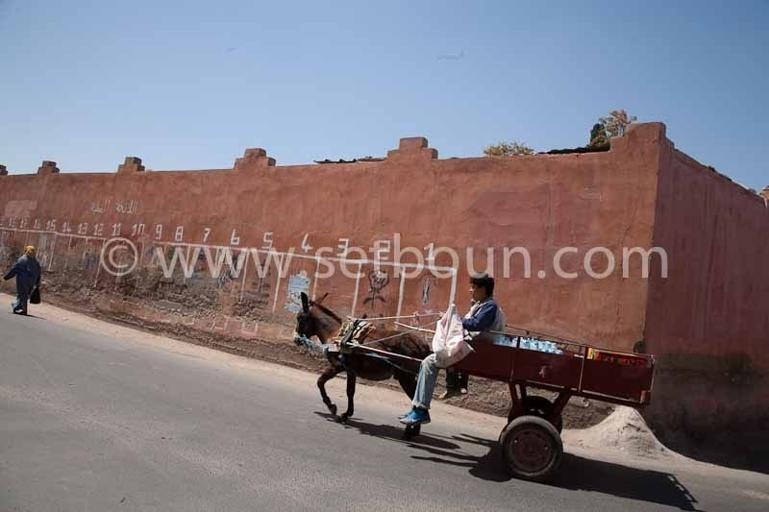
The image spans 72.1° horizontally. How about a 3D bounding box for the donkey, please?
[{"bbox_3d":[-0.418,2.020,9.811,3.226,2.433,0.954,4,-2,27],"label":"donkey"}]
